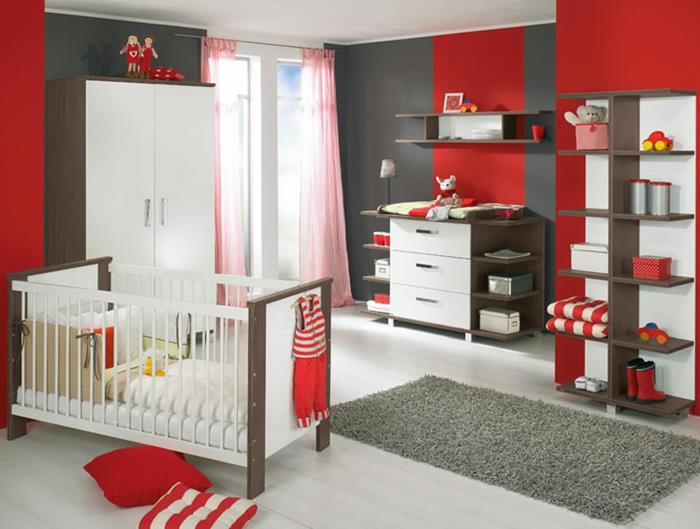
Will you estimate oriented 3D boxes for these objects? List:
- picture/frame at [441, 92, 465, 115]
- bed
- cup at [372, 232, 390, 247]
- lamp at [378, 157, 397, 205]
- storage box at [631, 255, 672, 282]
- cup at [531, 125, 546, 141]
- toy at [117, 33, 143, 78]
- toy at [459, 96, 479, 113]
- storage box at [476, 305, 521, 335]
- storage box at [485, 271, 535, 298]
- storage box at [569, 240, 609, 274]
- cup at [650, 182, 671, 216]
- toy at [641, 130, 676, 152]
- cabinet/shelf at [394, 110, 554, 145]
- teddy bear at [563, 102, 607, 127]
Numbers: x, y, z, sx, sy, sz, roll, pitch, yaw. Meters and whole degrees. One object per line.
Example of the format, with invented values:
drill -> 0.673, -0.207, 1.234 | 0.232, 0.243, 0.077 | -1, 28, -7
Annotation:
picture/frame -> 1.036, -1.613, 5.949 | 0.021, 0.282, 0.284 | 12, -3, -43
bed -> -1.034, 0.544, 3.706 | 1.731, 1.051, 1.202 | 4, 8, 27
cup -> 0.331, -0.279, 6.287 | 0.175, 0.084, 0.119 | 2, 2, 35
lamp -> 0.406, -0.906, 6.479 | 0.181, 0.498, 0.473 | 0, 10, 3
storage box -> 1.925, 0.022, 3.794 | 0.222, 0.131, 0.195 | 4, 11, 22
cup -> 1.713, -1.199, 5.459 | 0.143, 0.144, 0.142 | -1, 5, 0
toy -> -1.846, -1.764, 5.032 | 0.155, 0.347, 0.185 | -6, 11, -28
toy -> 1.163, -1.566, 5.836 | 0.203, 0.152, 0.136 | 2, 5, 8
storage box -> 1.338, 0.424, 5.393 | 0.374, 0.222, 0.207 | 6, 10, 41
storage box -> 1.429, 0.143, 5.442 | 0.215, 0.148, 0.312 | 4, 6, 44
storage box -> 1.643, -0.051, 4.112 | 0.211, 0.125, 0.206 | -5, 8, -42
cup -> 1.954, -0.417, 3.750 | 0.121, 0.199, 0.171 | 2, 11, 17
toy -> 1.953, -0.785, 3.772 | 0.186, 0.131, 0.324 | 5, 12, 26
cabinet/shelf -> 1.134, -1.347, 5.903 | 1.539, 0.330, 0.255 | 8, 13, 38
teddy bear -> 1.600, -1.022, 4.031 | 0.265, 0.118, 0.092 | 6, 2, 41
